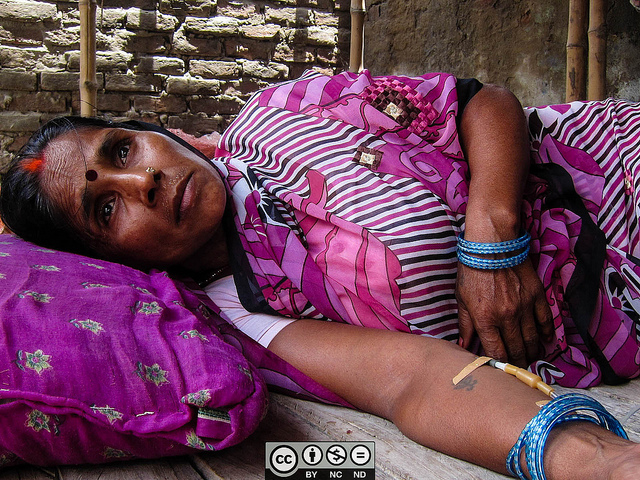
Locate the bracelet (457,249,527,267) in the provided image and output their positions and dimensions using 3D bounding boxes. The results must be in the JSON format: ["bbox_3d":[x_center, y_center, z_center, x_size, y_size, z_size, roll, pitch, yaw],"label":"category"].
[{"bbox_3d":[0.404,0.046,1.437,0.155,0.026,0.045,4,12,9],"label":"bracelet"}]

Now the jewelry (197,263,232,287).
[{"bbox_3d":[-0.285,0.095,1.697,0.113,0.017,0.015,-31,-24,21],"label":"jewelry"}]

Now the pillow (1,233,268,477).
[{"bbox_3d":[-0.355,0.228,1.293,0.507,0.150,0.485,-4,33,-39],"label":"pillow"}]

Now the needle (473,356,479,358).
[{"bbox_3d":[0.334,0.248,1.311,0.008,0.002,0.012,-3,12,-23],"label":"needle"}]

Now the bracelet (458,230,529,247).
[{"bbox_3d":[0.415,-0.006,1.463,0.163,0.031,0.096,5,12,11],"label":"bracelet"}]
